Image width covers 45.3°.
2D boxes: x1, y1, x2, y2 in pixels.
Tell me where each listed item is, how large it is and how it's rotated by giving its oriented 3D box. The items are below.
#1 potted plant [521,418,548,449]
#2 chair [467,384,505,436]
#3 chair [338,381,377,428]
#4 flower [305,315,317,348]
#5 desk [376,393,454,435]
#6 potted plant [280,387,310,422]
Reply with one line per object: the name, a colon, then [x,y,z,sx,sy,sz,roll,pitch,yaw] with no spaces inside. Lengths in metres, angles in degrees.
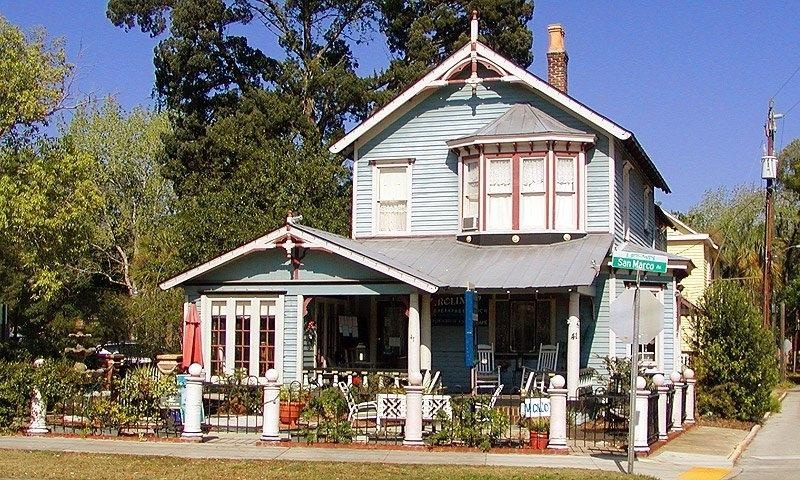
potted plant: [4.673,6.668,33.104,0.835,0.993,0.826,3,-17,-1]
chair: [3.047,6.006,33.216,1.087,1.503,0.773,4,-10,-27]
chair: [-1.528,5.962,34.756,1.541,2.374,1.328,-3,1,1]
flower: [-3.586,3.773,38.517,0.169,1.267,0.777,-7,-11,38]
desk: [0.508,6.014,34.217,2.687,1.402,1.687,2,4,2]
potted plant: [-4.098,6.159,36.072,1.275,1.343,1.391,0,-15,2]
